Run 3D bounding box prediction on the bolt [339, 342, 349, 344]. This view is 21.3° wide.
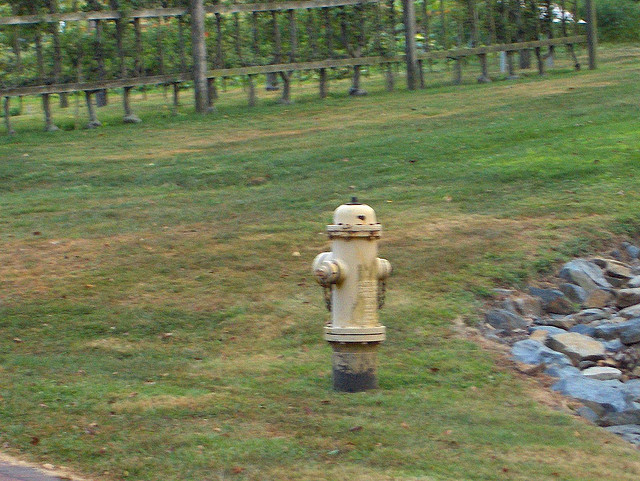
[{"bbox_3d":[0.458,2.140,36.181,0.175,0.032,0.034,-2,8,1],"label":"bolt"}]
